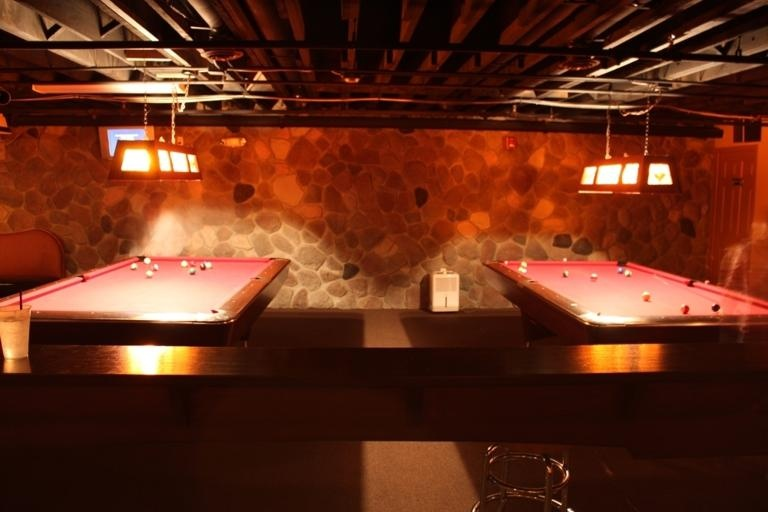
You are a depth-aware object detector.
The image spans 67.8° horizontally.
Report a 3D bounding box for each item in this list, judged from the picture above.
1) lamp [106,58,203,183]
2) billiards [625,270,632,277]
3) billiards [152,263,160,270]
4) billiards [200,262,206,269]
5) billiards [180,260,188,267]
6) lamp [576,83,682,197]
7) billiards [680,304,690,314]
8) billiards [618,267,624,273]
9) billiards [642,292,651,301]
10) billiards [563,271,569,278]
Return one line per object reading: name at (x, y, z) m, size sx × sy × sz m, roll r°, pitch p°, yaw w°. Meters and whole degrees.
lamp at (-1.865, -0.988, 4.720) m, size 0.412 × 0.884 × 0.657 m, roll 5°, pitch -82°, yaw 1°
billiards at (2.482, 0.178, 5.832) m, size 0.078 × 0.070 × 0.042 m, roll 1°, pitch -87°, yaw -11°
billiards at (-2.335, 0.114, 5.835) m, size 0.071 × 0.078 × 0.029 m, roll 1°, pitch -68°, yaw -11°
billiards at (-1.871, 0.098, 5.875) m, size 0.086 × 0.042 × 0.064 m, roll 0°, pitch -93°, yaw -3°
billiards at (-2.082, 0.074, 5.949) m, size 0.064 × 0.094 × 0.031 m, roll -2°, pitch -77°, yaw -13°
lamp at (2.078, -0.955, 4.895) m, size 0.423 × 1.000 × 0.773 m, roll -4°, pitch -81°, yaw -6°
billiards at (2.323, 0.414, 4.412) m, size 0.076 × 0.075 × 0.066 m, roll 2°, pitch -36°, yaw 8°
billiards at (2.455, 0.143, 5.958) m, size 0.055 × 0.066 × 0.036 m, roll -6°, pitch -82°, yaw 21°
billiards at (2.174, 0.337, 4.759) m, size 0.073 × 0.070 × 0.072 m, roll -4°, pitch -104°, yaw 31°
billiards at (1.810, 0.184, 5.737) m, size 0.066 × 0.054 × 0.038 m, roll 4°, pitch -85°, yaw 5°
